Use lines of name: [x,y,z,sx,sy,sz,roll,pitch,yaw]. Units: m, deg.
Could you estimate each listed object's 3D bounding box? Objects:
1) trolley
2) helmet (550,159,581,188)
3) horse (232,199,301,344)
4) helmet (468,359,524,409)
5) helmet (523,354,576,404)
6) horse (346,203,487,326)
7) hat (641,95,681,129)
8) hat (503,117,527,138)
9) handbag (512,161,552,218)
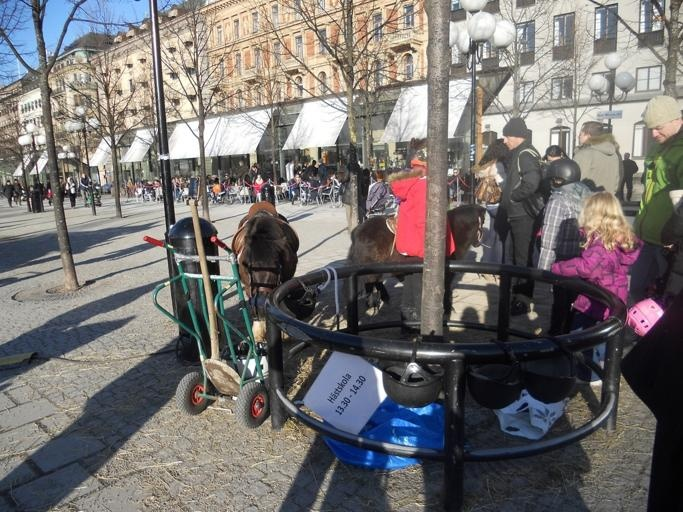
trolley: [-1.058,0.627,4.676,0.734,1.665,0.768,3,10,21]
helmet: [2.436,-0.897,6.051,0.252,0.316,0.355,-2,25,-20]
horse: [-0.811,0.139,6.215,0.621,1.493,2.097,-3,15,-5]
helmet: [1.023,0.777,3.609,0.339,0.372,0.439,4,15,20]
helmet: [1.405,0.844,3.753,0.340,0.362,0.462,-6,-10,0]
horse: [0.875,0.116,6.888,1.333,1.335,1.668,7,16,33]
hat: [3.203,-1.435,5.454,0.330,0.305,0.261,6,15,28]
hat: [2.213,-1.597,6.975,0.258,0.256,0.281,1,17,-2]
handbag: [2.497,-0.756,6.843,0.277,0.781,0.516,-16,4,26]
